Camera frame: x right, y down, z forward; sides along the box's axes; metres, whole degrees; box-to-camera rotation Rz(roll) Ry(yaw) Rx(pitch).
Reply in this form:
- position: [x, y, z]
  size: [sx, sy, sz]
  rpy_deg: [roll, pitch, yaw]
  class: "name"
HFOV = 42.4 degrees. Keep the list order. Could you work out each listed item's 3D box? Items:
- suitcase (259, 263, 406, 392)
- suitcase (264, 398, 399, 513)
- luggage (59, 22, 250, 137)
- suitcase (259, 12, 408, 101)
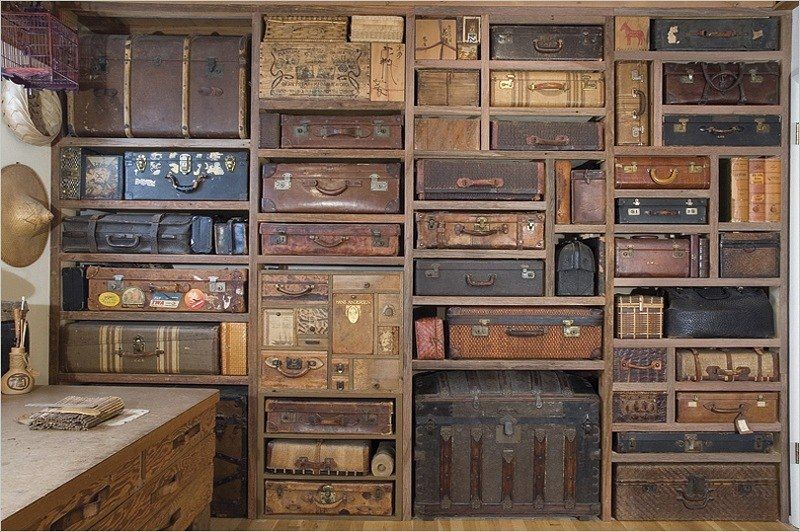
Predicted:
- position: [-0.526, 0.533, 8.313]
  size: [1.215, 0.811, 0.424]
  rpy_deg: [0, -2, 0]
  class: "suitcase"
- position: [-0.513, 1.471, 8.717]
  size: [1.549, 1.063, 0.889]
  rpy_deg: [0, -3, 3]
  class: "suitcase"
- position: [-1.938, -1.456, 8.724]
  size: [1.568, 0.759, 0.872]
  rpy_deg: [0, 0, -1]
  class: "luggage"
- position: [-0.529, -1.648, 8.292]
  size: [1.393, 0.725, 0.719]
  rpy_deg: [0, 2, 2]
  class: "suitcase"
